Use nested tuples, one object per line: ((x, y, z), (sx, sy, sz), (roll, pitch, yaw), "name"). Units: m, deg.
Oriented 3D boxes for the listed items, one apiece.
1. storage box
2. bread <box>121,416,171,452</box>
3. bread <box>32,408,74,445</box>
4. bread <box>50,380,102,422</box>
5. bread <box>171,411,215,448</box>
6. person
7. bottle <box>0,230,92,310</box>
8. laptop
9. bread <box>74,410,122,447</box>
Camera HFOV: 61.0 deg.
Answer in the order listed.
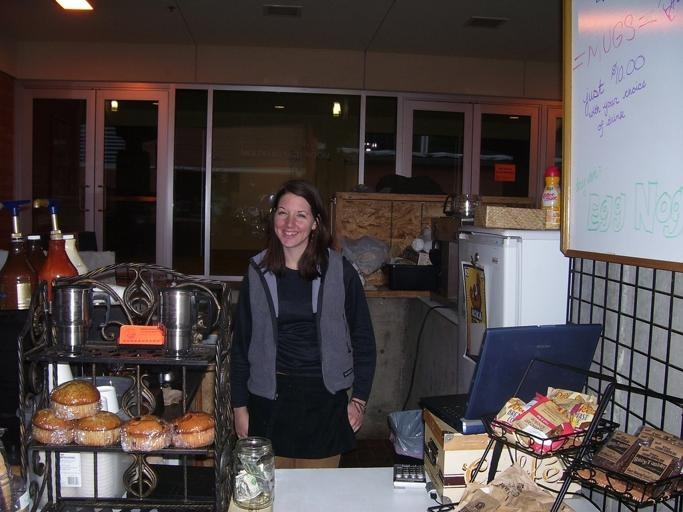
((0.355, 0.555, 1.662), (0.256, 0.147, 0.262), (4, 0, -7), "storage box")
((-0.486, 0.452, 1.463), (0.123, 0.083, 0.052), (-1, 2, -22), "bread")
((-0.732, 0.437, 1.486), (0.084, 0.056, 0.087), (3, -6, 4), "bread")
((-0.696, 0.370, 1.537), (0.130, 0.093, 0.134), (6, 3, 7), "bread")
((-0.388, 0.446, 1.524), (0.122, 0.080, 0.125), (-4, 3, -25), "bread")
((-0.158, 0.282, 2.436), (0.605, 1.204, 0.249), (-1, 2, -1), "person")
((-0.966, 0.050, 1.903), (0.314, 0.286, 0.127), (-1, -1, -8), "bottle")
((0.494, 0.337, 1.728), (0.401, 0.271, 0.373), (-1, -4, -14), "laptop")
((-0.630, 0.454, 1.516), (0.122, 0.083, 0.124), (9, -14, -39), "bread")
